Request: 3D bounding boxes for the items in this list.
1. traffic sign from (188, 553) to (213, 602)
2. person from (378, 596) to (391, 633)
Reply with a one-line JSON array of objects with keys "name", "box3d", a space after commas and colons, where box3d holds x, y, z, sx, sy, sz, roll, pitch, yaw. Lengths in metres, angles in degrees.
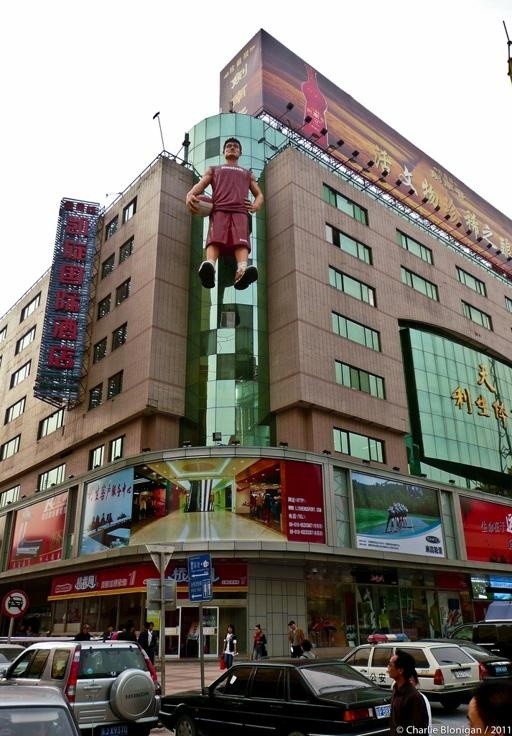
[{"name": "traffic sign", "box3d": [-1.258, 4.875, 12.520, 0.319, 1.033, 0.861, 10, -27, -29]}, {"name": "person", "box3d": [6.748, 13.040, 28.404, 0.241, 1.580, 0.829, -22, -29, 36]}]
